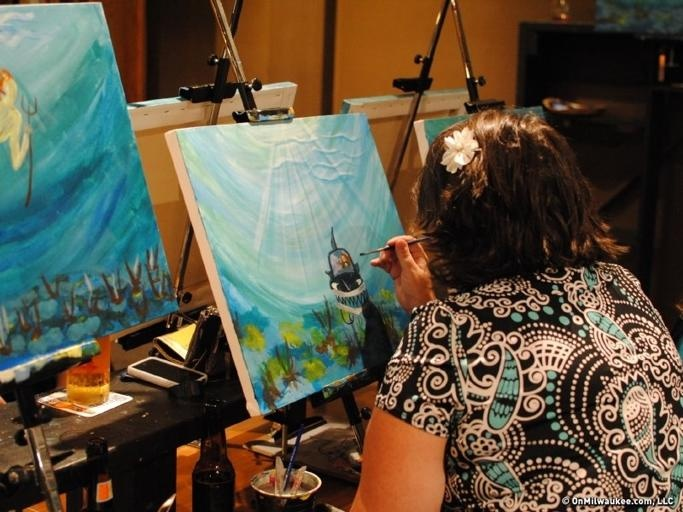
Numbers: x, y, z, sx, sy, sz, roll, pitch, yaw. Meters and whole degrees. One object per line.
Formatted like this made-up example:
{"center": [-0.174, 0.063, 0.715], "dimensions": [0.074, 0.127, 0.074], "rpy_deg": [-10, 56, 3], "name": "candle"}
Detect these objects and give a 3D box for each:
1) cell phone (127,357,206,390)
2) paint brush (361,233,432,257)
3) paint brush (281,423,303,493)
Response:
{"center": [-0.412, 0.281, 1.541], "dimensions": [0.155, 0.022, 0.082], "rpy_deg": [14, 14, 23], "name": "cell phone"}
{"center": [0.117, -0.022, 1.406], "dimensions": [0.160, 0.015, 0.018], "rpy_deg": [-21, -4, 41], "name": "paint brush"}
{"center": [-0.123, 0.506, 1.602], "dimensions": [0.020, 0.189, 0.020], "rpy_deg": [23, -11, -41], "name": "paint brush"}
